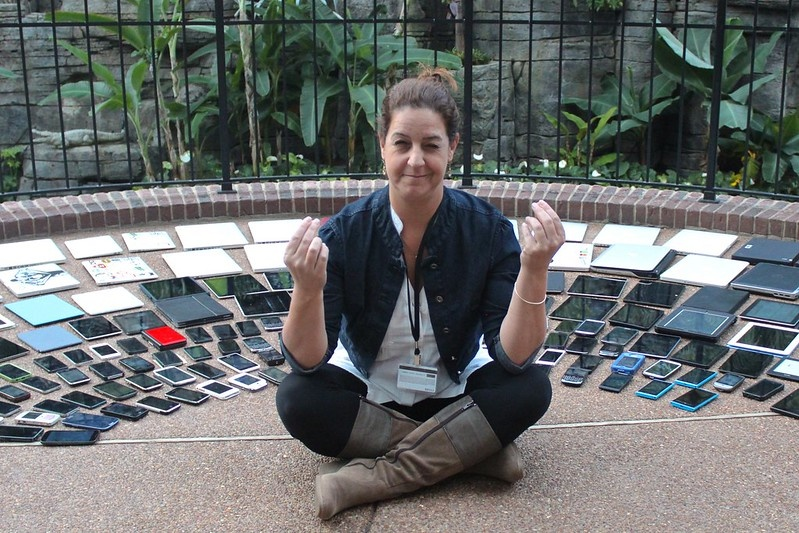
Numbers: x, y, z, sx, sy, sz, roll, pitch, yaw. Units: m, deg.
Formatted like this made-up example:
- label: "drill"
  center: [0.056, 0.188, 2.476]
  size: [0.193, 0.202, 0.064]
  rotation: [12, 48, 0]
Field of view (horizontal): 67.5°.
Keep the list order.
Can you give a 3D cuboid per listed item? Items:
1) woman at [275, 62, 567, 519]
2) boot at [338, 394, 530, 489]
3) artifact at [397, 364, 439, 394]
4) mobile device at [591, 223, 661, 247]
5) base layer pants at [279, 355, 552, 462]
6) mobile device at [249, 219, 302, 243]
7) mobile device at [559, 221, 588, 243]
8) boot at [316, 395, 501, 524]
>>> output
- label: "woman"
  center: [0.068, 0.023, 2.490]
  size: [1.144, 1.635, 1.088]
  rotation: [-1, 13, -6]
- label: "boot"
  center: [0.049, 0.718, 2.306]
  size: [0.525, 0.193, 0.442]
  rotation: [-12, -20, 14]
- label: "artifact"
  center: [0.075, 0.455, 2.467]
  size: [0.187, 0.106, 0.118]
  rotation: [7, -4, 4]
- label: "mobile device"
  center: [1.870, -0.256, 4.865]
  size: [0.425, 0.042, 0.318]
  rotation: [-3, 24, 18]
- label: "base layer pants"
  center: [-0.052, 0.755, 2.825]
  size: [1.014, 0.446, 1.575]
  rotation: [9, -20, -33]
- label: "mobile device"
  center: [-0.971, -0.276, 4.589]
  size: [0.327, 0.082, 0.356]
  rotation: [2, 19, 9]
- label: "mobile device"
  center: [1.295, -0.252, 4.360]
  size: [0.213, 0.075, 0.329]
  rotation: [6, 29, 6]
- label: "boot"
  center: [0.036, 0.830, 2.427]
  size: [0.676, 0.228, 0.374]
  rotation: [-20, 41, -1]
